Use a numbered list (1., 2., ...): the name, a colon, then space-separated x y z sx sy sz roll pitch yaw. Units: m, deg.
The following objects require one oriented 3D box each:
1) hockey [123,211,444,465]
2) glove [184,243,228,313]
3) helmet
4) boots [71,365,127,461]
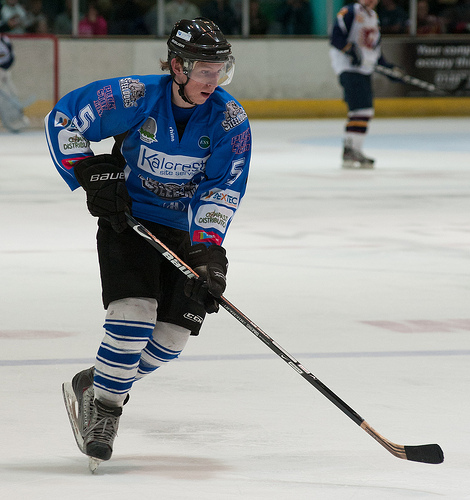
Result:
1. hockey: 0.176 0.298 2.253 1.218 0.126 0.160 31 52 9
2. glove: -0.089 0.074 1.756 0.126 0.070 0.183 31 31 -11
3. helmet: -0.087 -0.515 1.692 0.128 0.099 0.134 -2 19 -15
4. boots: -0.381 0.406 1.685 0.099 0.114 0.247 21 30 -38
